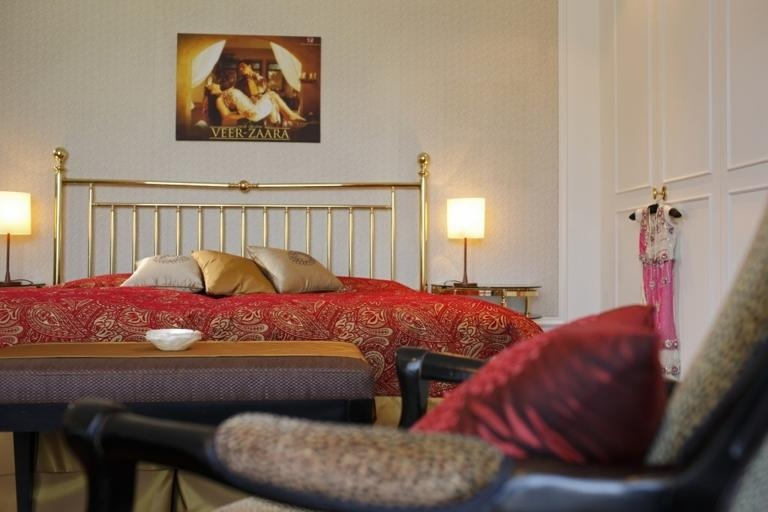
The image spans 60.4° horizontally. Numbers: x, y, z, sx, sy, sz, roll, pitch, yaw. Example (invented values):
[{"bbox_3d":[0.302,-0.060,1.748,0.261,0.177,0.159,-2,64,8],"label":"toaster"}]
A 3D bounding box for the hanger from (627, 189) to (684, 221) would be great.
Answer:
[{"bbox_3d":[1.584,-0.290,3.819,0.065,0.189,0.342,-7,4,-36],"label":"hanger"}]
